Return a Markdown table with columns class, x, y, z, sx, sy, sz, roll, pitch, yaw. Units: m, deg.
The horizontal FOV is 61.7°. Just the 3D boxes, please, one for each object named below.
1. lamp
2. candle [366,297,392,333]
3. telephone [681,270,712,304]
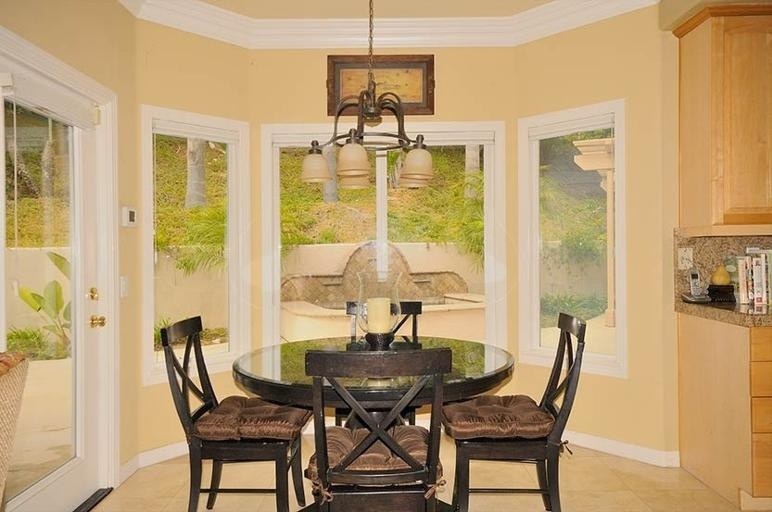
| class | x | y | z | sx | sy | sz | roll | pitch | yaw |
| --- | --- | --- | --- | --- | --- | --- | --- | --- | --- |
| lamp | -0.183 | -1.233 | 4.702 | 0.857 | 1.538 | 1.814 | -2 | 2 | -5 |
| candle | -0.043 | 0.367 | 4.140 | 0.184 | 0.193 | 0.184 | 2 | 7 | 35 |
| telephone | 2.303 | 0.217 | 4.767 | 0.210 | 0.249 | 0.264 | -1 | 2 | 3 |
